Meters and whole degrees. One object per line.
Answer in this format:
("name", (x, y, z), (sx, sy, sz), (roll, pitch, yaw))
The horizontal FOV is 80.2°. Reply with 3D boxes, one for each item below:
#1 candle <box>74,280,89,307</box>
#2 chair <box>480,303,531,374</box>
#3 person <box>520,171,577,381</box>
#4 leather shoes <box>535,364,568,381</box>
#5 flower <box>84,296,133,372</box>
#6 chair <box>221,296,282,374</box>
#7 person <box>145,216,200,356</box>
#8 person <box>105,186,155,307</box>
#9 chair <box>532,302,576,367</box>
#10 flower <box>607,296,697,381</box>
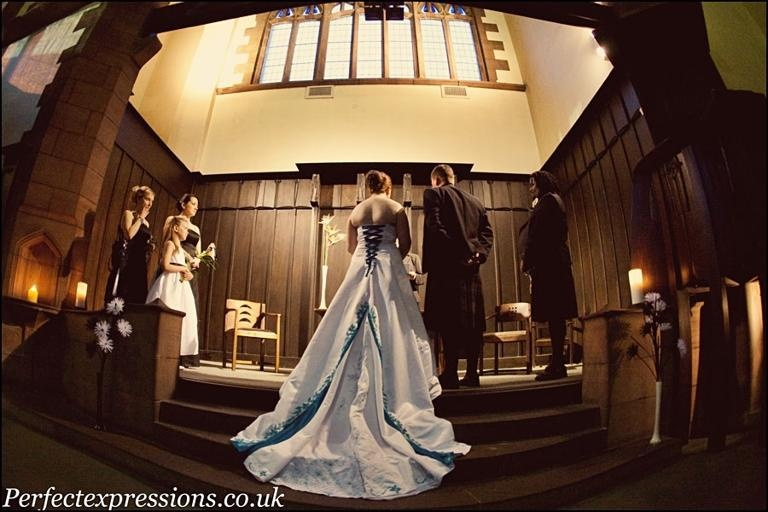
("candle", (-3.178, 0.405, 4.785), (0.120, 0.284, 0.045), (14, -22, -31))
("chair", (1.711, 1.124, 6.295), (0.717, 0.927, 0.676), (-3, -9, 8))
("person", (1.930, 0.207, 5.325), (0.566, 2.414, 0.517), (7, -19, -14))
("leather shoes", (1.918, 1.359, 5.220), (0.448, 0.177, 0.150), (3, -13, -15))
("flower", (-2.787, 0.769, 4.638), (0.363, 0.660, 0.230), (0, -19, 6))
("chair", (-1.883, 1.099, 6.419), (0.734, 1.005, 0.772), (-7, -16, 30))
("person", (-2.536, 0.365, 5.708), (0.321, 1.798, 0.653), (-16, -26, 43))
("person", (-3.005, -0.128, 5.526), (0.456, 1.467, 0.363), (12, -21, -25))
("chair", (2.474, 1.188, 6.714), (0.694, 0.855, 0.697), (1, -12, -10))
("flower", (2.865, 0.970, 5.011), (0.796, 1.104, 0.817), (-9, -20, 30))
